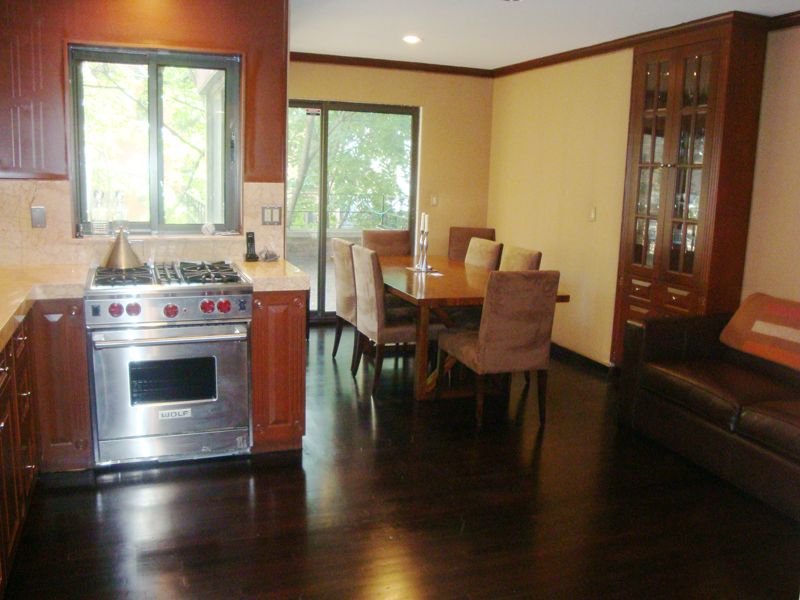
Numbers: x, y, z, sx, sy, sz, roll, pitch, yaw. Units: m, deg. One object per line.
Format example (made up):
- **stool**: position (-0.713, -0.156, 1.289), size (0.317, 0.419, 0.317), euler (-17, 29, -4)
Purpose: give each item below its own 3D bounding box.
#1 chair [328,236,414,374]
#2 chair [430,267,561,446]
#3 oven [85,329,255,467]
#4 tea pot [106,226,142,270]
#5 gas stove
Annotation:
- **chair**: position (-0.240, 0.064, 5.591), size (0.570, 0.943, 1.072), euler (-3, 12, -17)
- **chair**: position (0.718, 0.346, 4.566), size (0.775, 1.162, 0.467), euler (1, 10, 14)
- **oven**: position (-1.445, 0.469, 4.100), size (0.899, 0.895, 0.734), euler (-2, 18, -22)
- **tea pot**: position (-1.726, -0.324, 3.963), size (0.220, 0.244, 0.210), euler (-1, 12, 0)
- **gas stove**: position (-1.400, -0.035, 3.924), size (0.935, 0.321, 0.497), euler (-4, 11, -18)
